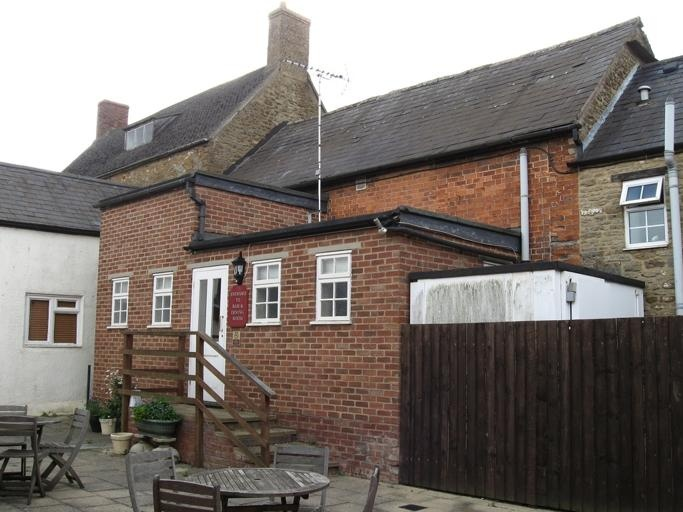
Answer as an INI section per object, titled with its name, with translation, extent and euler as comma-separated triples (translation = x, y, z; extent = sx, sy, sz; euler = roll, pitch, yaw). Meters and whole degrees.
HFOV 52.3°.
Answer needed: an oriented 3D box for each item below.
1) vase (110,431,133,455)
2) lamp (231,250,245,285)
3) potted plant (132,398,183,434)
[vase]
translation = -4.231, 3.637, 13.449
extent = 0.394, 0.387, 0.457
euler = 1, -8, -15
[lamp]
translation = -2.043, 0.248, 13.802
extent = 0.269, 0.636, 0.469
euler = 4, -9, -31
[potted plant]
translation = -3.447, 3.045, 13.021
extent = 0.912, 0.674, 0.385
euler = -4, -9, 22
